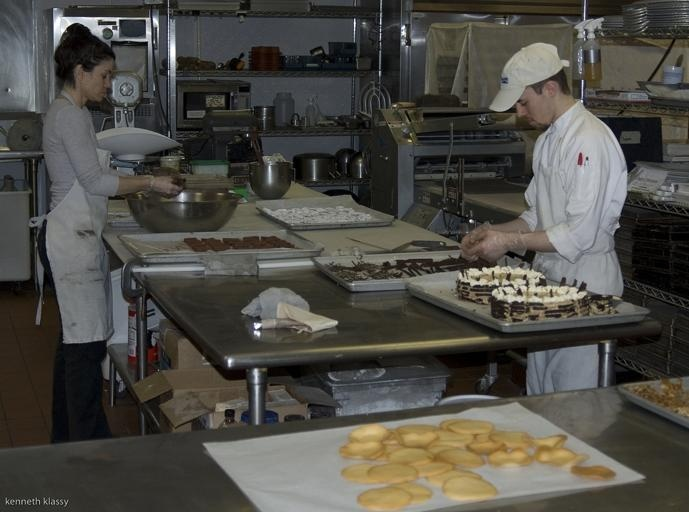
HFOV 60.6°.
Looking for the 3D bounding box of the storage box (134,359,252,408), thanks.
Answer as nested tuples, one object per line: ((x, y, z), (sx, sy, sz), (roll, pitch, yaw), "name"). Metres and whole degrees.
((-0.579, 0.495, 2.270), (0.405, 0.067, 0.189), (-2, 18, -32), "storage box")

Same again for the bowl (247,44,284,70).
((-0.832, -2.077, 6.285), (0.388, 0.242, 0.319), (-1, 5, -13), "bowl")

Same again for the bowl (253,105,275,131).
((-0.841, -1.476, 6.282), (0.209, 0.280, 0.510), (-5, 13, -6), "bowl")

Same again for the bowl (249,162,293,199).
((-0.436, -0.455, 3.632), (0.338, 0.166, 0.246), (0, 4, -1), "bowl")

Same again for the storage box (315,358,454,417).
((0.143, 0.416, 1.970), (0.349, 0.114, 0.245), (-2, 5, -21), "storage box")

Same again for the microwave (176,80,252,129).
((-1.305, -1.529, 5.922), (0.752, 0.470, 0.183), (-4, 16, -8), "microwave")

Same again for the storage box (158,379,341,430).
((-0.361, 0.479, 2.003), (0.469, 0.112, 0.283), (0, 0, -19), "storage box")

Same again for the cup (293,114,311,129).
((-0.469, -1.497, 6.503), (0.207, 0.148, 0.321), (-5, 13, -11), "cup")

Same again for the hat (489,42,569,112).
((0.672, -0.647, 2.121), (0.270, 0.234, 0.162), (0, 16, 11), "hat")

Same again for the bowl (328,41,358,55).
((-0.015, -2.312, 6.634), (0.305, 0.104, 0.249), (-1, 12, -7), "bowl")

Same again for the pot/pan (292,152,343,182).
((-0.249, -0.923, 6.331), (0.560, 0.227, 0.448), (0, 7, 0), "pot/pan")

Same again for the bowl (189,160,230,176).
((-0.841, -0.555, 3.685), (0.208, 0.081, 0.329), (0, 12, 8), "bowl")

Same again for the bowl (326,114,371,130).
((0.031, -1.510, 6.605), (0.422, 0.165, 0.499), (-4, 13, -12), "bowl")

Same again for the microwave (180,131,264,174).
((-0.824, -0.704, 4.036), (0.608, 0.277, 0.263), (-2, 17, -8), "microwave")
